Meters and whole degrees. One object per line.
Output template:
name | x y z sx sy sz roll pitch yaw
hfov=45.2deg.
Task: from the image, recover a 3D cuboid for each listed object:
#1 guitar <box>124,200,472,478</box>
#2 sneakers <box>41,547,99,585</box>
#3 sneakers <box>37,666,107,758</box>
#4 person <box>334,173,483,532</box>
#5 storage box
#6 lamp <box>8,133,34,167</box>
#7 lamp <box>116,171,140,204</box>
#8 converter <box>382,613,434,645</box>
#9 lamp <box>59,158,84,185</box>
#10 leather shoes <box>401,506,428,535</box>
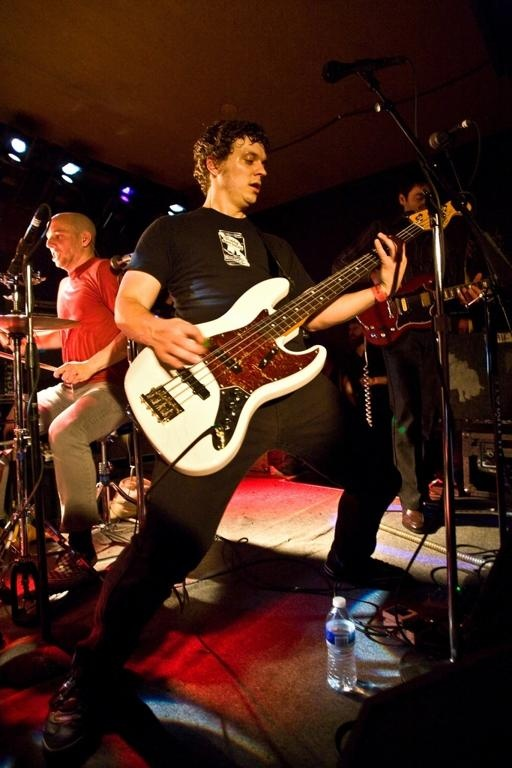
guitar | 0.322 -0.277 2.183 1.709 0.535 0.167 -35 -8 -33
sneakers | -0.824 0.811 2.721 0.128 0.132 0.333 17 -21 -1
sneakers | -0.515 0.893 1.706 0.166 0.187 0.134 -4 8 -11
person | 0.893 -0.169 3.558 0.766 1.988 0.241 -10 -23 15
storage box | 1.369 0.439 3.645 0.145 0.416 0.432 -8 3 -44
lamp | -1.788 -1.754 4.631 0.197 0.302 0.164 7 -43 -12
lamp | -1.180 -1.779 5.616 0.135 0.253 0.067 24 -44 -26
converter | 0.522 0.845 2.133 0.088 0.041 0.114 -11 -8 -28
lamp | -1.520 -1.728 5.013 0.145 0.141 0.130 28 -20 8
leather shoes | 0.834 0.728 3.285 0.060 0.065 0.175 24 20 1
